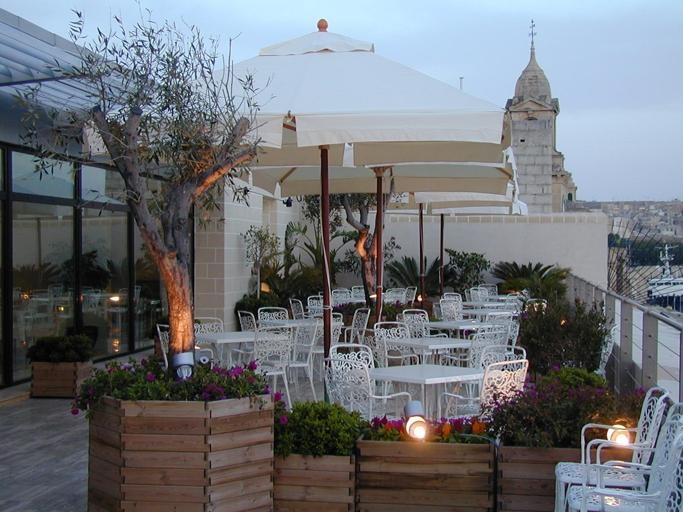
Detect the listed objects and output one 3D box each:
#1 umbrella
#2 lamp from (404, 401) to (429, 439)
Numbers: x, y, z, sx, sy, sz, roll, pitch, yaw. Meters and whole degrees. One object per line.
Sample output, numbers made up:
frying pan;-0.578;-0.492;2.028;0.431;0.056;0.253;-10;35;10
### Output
umbrella;0.302;-1.121;7.714;2.897;3.317;3.087;0;-1;-1
lamp;0.535;1.189;5.435;0.171;0.246;0.259;0;-1;5
